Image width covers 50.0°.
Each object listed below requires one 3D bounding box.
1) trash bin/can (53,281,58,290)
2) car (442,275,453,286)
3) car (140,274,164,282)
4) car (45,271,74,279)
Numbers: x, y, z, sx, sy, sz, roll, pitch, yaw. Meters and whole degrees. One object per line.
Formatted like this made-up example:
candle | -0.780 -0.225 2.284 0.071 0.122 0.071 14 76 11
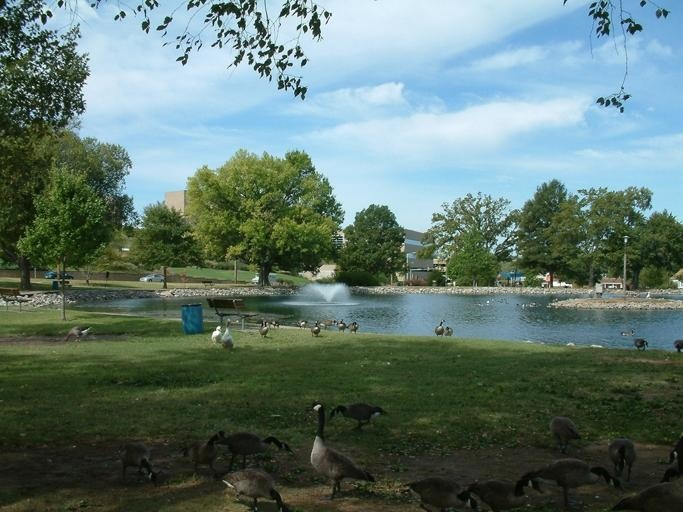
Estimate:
trash bin/can | -25.182 2.584 64.493 0.694 0.791 0.626 2 -14 -19
car | 15.737 3.548 107.913 1.763 1.457 3.576 -3 -3 -1
car | -24.857 2.902 96.359 1.614 0.831 2.843 -3 -6 29
car | -29.442 1.932 75.884 2.949 0.739 1.800 -1 0 9
